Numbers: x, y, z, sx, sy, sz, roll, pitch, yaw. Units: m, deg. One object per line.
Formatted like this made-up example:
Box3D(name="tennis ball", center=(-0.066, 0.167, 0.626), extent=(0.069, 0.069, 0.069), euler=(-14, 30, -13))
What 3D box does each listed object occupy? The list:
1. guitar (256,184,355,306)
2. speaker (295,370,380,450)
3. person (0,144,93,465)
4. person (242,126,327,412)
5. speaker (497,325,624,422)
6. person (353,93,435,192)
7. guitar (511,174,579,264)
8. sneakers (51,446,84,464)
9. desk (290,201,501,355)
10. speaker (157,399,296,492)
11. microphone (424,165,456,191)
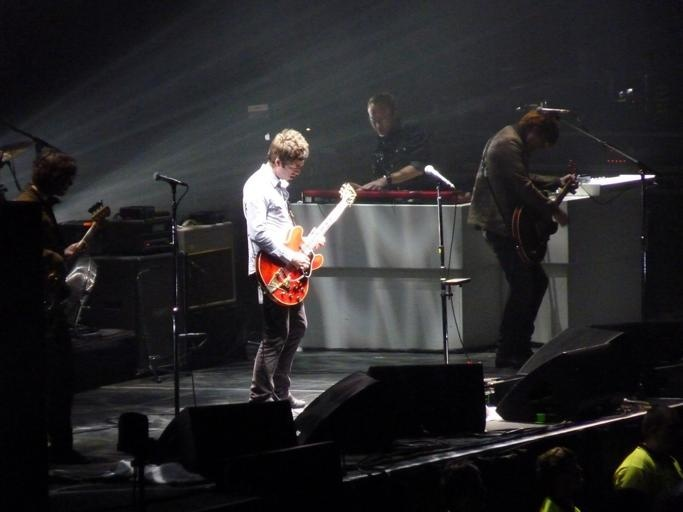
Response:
Box3D(name="guitar", center=(-0.272, -0.113, 4.785), extent=(0.138, 0.423, 1.103), euler=(-19, 30, 48))
Box3D(name="speaker", center=(-0.073, 0.787, 3.454), extent=(0.385, 0.343, 0.551), euler=(2, -9, -40))
Box3D(name="person", center=(-1.612, 0.272, 3.734), extent=(0.321, 1.750, 0.337), euler=(-5, -8, 6))
Box3D(name="person", center=(-0.406, 0.065, 4.578), extent=(0.533, 1.961, 0.538), euler=(-3, -8, -8))
Box3D(name="speaker", center=(1.291, 0.686, 4.025), extent=(0.619, 0.411, 0.578), euler=(-12, 5, -6))
Box3D(name="person", center=(0.542, -1.087, 6.517), extent=(0.596, 1.000, 0.615), euler=(-5, -7, 8))
Box3D(name="guitar", center=(1.658, -0.317, 5.500), extent=(0.102, 0.308, 0.781), euler=(6, 42, 40))
Box3D(name="sneakers", center=(-1.522, 1.106, 3.718), extent=(0.183, 0.098, 0.066), euler=(-1, -8, -24))
Box3D(name="desk", center=(0.659, 0.190, 6.691), extent=(2.400, 1.660, 1.310), euler=(0, 0, 18))
Box3D(name="speaker", center=(-0.574, 0.843, 3.155), extent=(0.392, 0.240, 0.382), euler=(0, -2, -35))
Box3D(name="microphone", center=(0.746, -0.597, 5.071), extent=(0.177, 0.221, 0.423), euler=(-6, -7, 12))
